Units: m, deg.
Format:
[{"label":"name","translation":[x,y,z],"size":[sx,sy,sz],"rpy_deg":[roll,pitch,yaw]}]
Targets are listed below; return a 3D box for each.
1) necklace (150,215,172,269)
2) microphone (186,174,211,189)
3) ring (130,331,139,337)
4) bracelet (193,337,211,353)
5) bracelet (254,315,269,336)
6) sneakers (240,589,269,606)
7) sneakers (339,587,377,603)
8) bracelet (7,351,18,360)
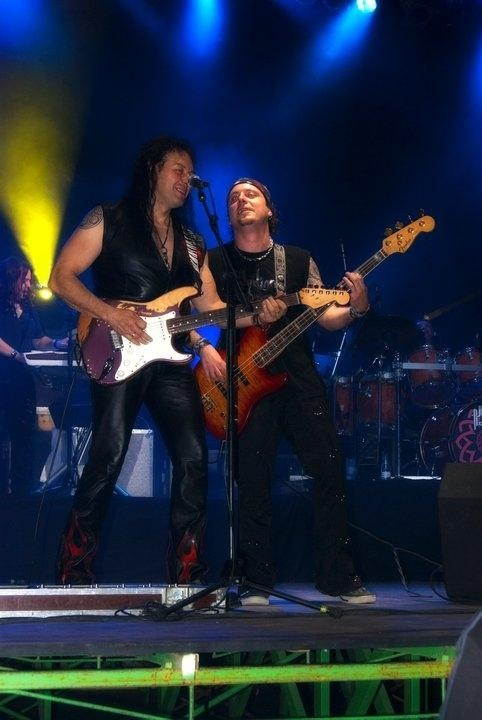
[{"label":"necklace","translation":[-0.338,-0.511,3.406],"size":[0.071,0.210,0.030],"rpy_deg":[0,-33,-12]},{"label":"microphone","translation":[-0.164,-0.715,3.152],"size":[0.055,0.041,0.128],"rpy_deg":[-9,12,-17]},{"label":"ring","translation":[-0.430,-0.105,3.176],"size":[0.026,0.025,0.012],"rpy_deg":[-3,-3,-12]},{"label":"bracelet","translation":[-0.183,-0.070,3.564],"size":[0.072,0.028,0.061],"rpy_deg":[-36,35,10]},{"label":"bracelet","translation":[0.089,-0.159,3.533],"size":[0.098,0.058,0.024],"rpy_deg":[25,23,-15]},{"label":"sneakers","translation":[0.054,0.989,3.251],"size":[0.125,0.069,0.042],"rpy_deg":[1,-12,-3]},{"label":"sneakers","translation":[0.497,0.983,3.276],"size":[0.055,0.047,0.126],"rpy_deg":[14,-23,-24]},{"label":"bracelet","translation":[-1.673,-0.035,5.759],"size":[0.060,0.047,0.018],"rpy_deg":[-3,-3,-24]}]
